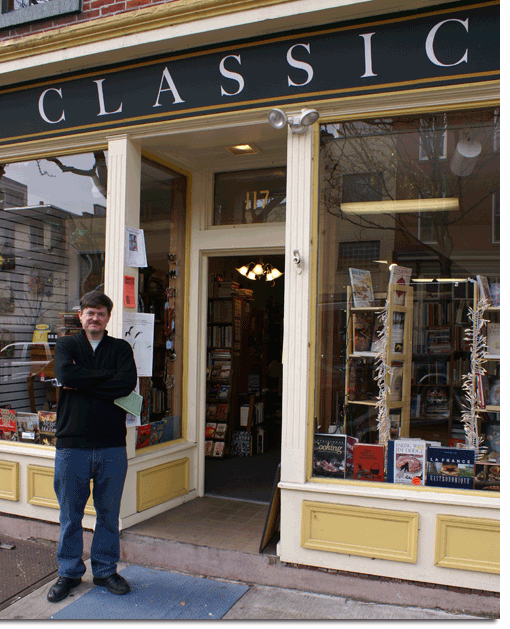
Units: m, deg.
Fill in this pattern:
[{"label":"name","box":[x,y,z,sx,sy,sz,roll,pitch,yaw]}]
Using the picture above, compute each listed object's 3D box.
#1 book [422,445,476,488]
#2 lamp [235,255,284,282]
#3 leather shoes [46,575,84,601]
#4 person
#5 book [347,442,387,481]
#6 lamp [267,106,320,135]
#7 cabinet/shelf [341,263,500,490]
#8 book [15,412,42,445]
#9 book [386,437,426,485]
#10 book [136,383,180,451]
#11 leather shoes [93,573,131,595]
[{"label":"book","box":[1.218,0.955,3.586,0.265,0.233,0.085,0,-13,20]},{"label":"lamp","box":[0.080,-0.731,8.419,0.532,0.252,0.534,18,-2,-32]},{"label":"leather shoes","box":[-1.195,1.717,3.616,0.078,0.086,0.224,-2,-8,12]},{"label":"person","box":[-1.032,0.803,3.669,0.545,1.904,0.304,-1,-1,-17]},{"label":"book","box":[0.739,0.967,3.766,0.248,0.268,0.040,-2,-10,27]},{"label":"lamp","box":[0.270,-1.288,3.810,0.345,0.132,0.141,4,-43,32]},{"label":"cabinet/shelf","box":[1.104,0.433,3.724,1.449,1.445,0.489,2,-2,35]},{"label":"book","box":[-1.947,0.989,4.980,0.264,0.243,0.147,-4,-8,26]},{"label":"book","box":[1.020,0.986,3.750,0.282,0.243,0.222,-1,-22,24]},{"label":"book","box":[-0.827,0.827,4.946,0.120,0.567,0.676,-1,0,14]},{"label":"leather shoes","box":[-0.904,1.686,3.663,0.265,0.094,0.096,-1,-4,35]}]
